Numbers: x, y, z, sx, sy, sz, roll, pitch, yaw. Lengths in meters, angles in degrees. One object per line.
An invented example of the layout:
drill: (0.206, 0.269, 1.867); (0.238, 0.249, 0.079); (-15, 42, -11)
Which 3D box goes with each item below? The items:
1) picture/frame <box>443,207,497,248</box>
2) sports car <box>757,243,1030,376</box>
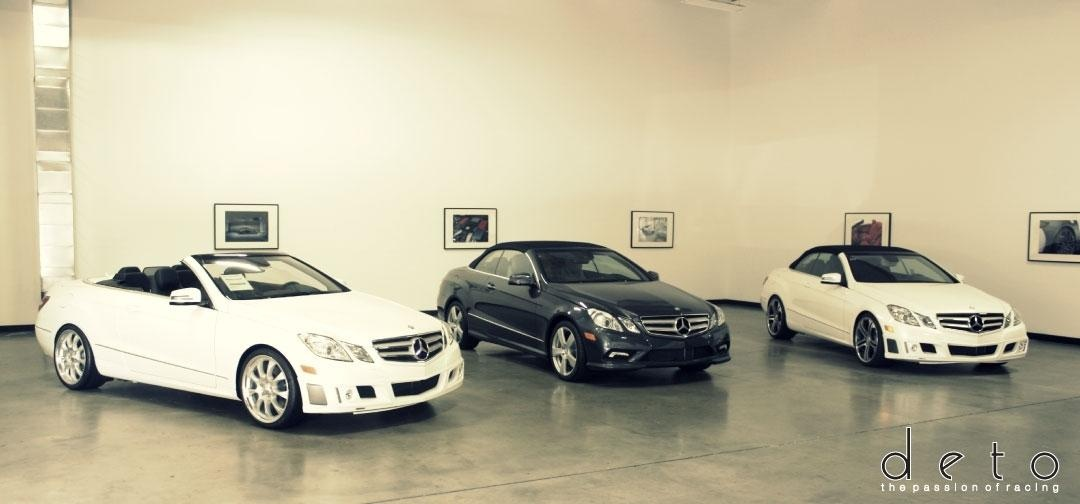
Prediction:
picture/frame: (-2.016, -0.667, 18.559); (0.042, 1.147, 1.904); (4, 5, 44)
sports car: (7.888, 1.153, 14.905); (2.348, 2.439, 4.635); (-8, 10, -41)
